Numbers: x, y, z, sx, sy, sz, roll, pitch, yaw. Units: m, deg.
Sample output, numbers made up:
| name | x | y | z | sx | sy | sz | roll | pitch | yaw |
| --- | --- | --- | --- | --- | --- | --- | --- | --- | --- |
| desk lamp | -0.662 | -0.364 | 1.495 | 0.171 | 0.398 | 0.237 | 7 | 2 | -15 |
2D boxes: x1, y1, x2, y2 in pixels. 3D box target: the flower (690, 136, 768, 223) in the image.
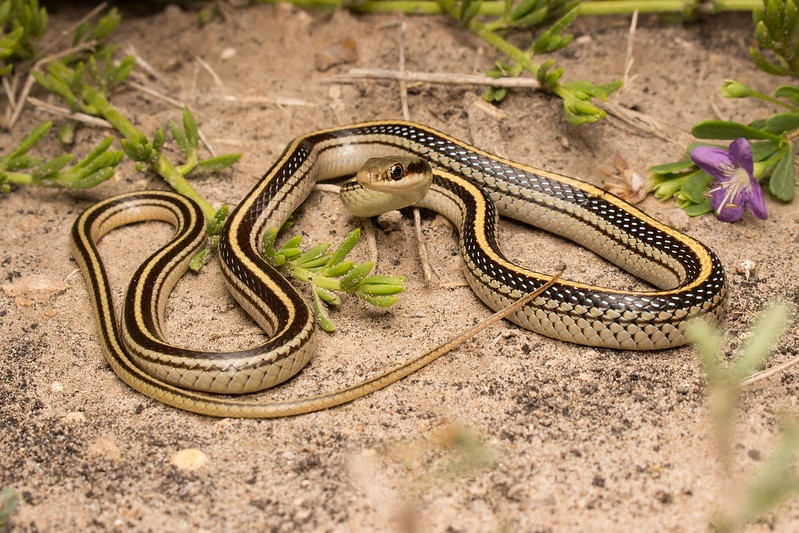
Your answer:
| name | x | y | z | sx | sy | sz | roll | pitch | yaw |
| --- | --- | --- | --- | --- | --- | --- | --- | --- | --- |
| flower | 3.089 | -0.801 | 7.511 | 0.764 | 0.735 | 0.287 | 15 | 34 | 21 |

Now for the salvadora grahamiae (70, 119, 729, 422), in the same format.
| name | x | y | z | sx | sy | sz | roll | pitch | yaw |
| --- | --- | --- | --- | --- | --- | --- | --- | --- | --- |
| salvadora grahamiae | -0.108 | -0.042 | 7.499 | 5.264 | 2.669 | 1.604 | 3 | 0 | -18 |
